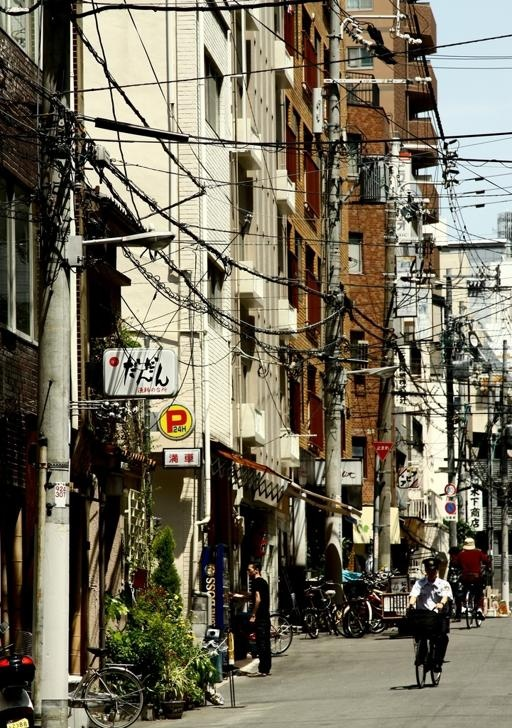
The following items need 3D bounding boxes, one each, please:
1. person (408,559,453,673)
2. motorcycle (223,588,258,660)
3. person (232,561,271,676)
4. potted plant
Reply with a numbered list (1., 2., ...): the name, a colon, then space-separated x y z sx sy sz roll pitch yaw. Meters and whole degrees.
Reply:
1. person: 2.430 3.485 29.344 0.589 1.730 2.497 -1 -10 5
2. motorcycle: -0.226 4.578 36.168 0.491 0.927 1.342 -1 0 4
3. person: -0.093 4.289 34.879 0.517 1.799 0.589 2 -47 1
4. potted plant: -1.452 3.564 28.977 1.663 3.410 1.971 -3 -4 6
